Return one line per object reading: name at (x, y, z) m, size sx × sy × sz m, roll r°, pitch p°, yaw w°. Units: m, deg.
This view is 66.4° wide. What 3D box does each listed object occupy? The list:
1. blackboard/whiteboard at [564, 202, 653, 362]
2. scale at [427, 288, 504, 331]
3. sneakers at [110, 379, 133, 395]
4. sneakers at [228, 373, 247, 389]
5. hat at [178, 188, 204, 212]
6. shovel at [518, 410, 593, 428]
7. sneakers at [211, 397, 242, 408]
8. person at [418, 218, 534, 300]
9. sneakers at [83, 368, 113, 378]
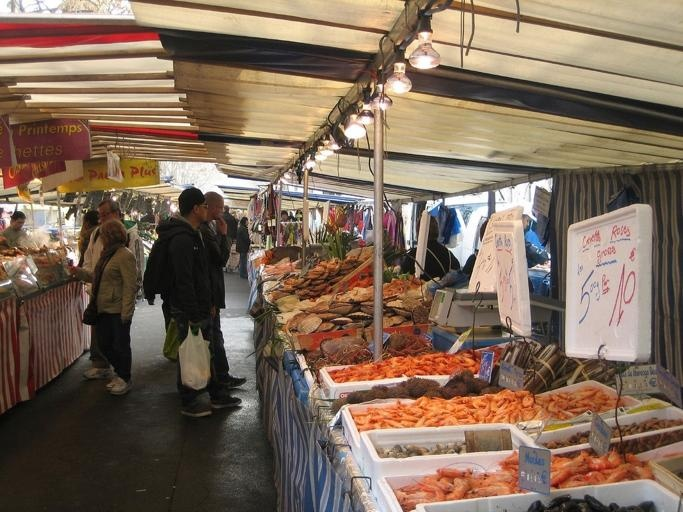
blackboard/whiteboard at (1.213, 0.123, 2.403) m, size 0.198 × 0.719 × 0.503 m, roll -2°, pitch 7°, yaw -28°
scale at (0.903, 0.383, 3.728) m, size 0.345 × 0.157 × 0.347 m, roll 0°, pitch 1°, yaw -13°
sneakers at (-2.546, 1.502, 5.987) m, size 0.113 × 0.106 × 0.229 m, roll 1°, pitch -9°, yaw -3°
sneakers at (-1.266, 1.502, 6.296) m, size 0.276 × 0.119 × 0.109 m, roll -5°, pitch 9°, yaw -16°
hat at (-1.454, -0.564, 5.231) m, size 0.200 × 0.265 × 0.251 m, roll 3°, pitch 21°, yaw 13°
shovel at (1.094, 0.836, 2.638) m, size 0.422 × 0.064 × 0.115 m, roll 0°, pitch 6°, yaw -13°
sneakers at (-1.257, 1.592, 5.731) m, size 0.333 × 0.143 × 0.119 m, roll -2°, pitch -1°, yaw -11°
person at (1.175, 0.016, 4.679) m, size 0.264 × 1.016 × 1.099 m, roll 17°, pitch -23°, yaw -20°
sneakers at (-3.039, 1.465, 6.575) m, size 0.353 × 0.149 × 0.128 m, roll 5°, pitch 2°, yaw -22°
